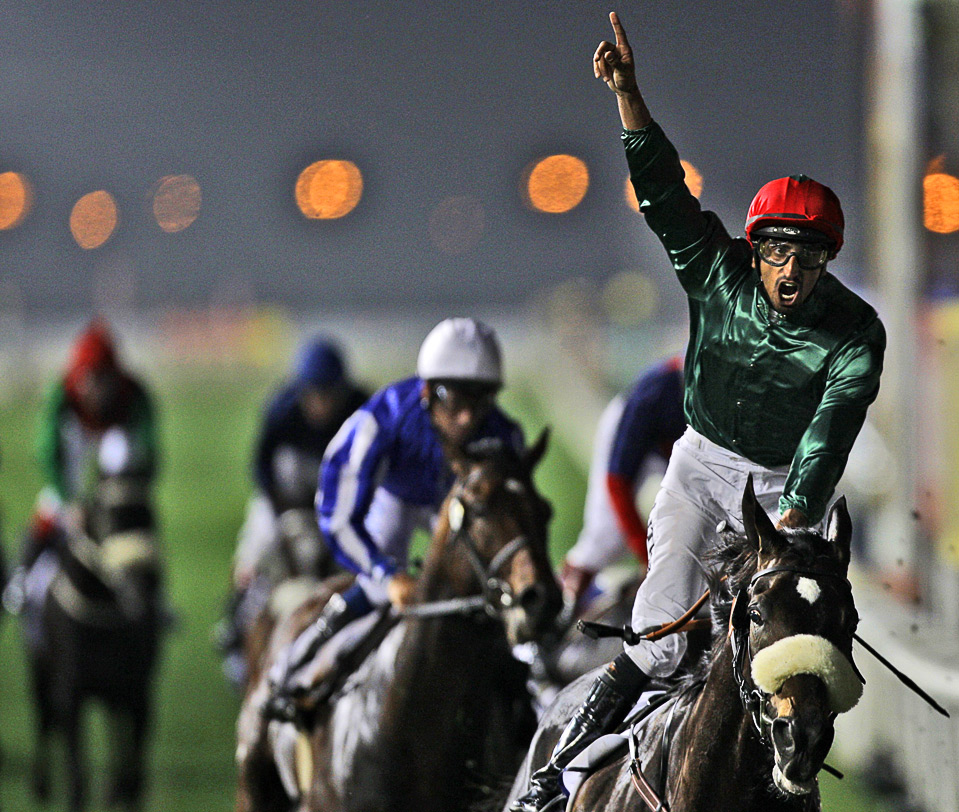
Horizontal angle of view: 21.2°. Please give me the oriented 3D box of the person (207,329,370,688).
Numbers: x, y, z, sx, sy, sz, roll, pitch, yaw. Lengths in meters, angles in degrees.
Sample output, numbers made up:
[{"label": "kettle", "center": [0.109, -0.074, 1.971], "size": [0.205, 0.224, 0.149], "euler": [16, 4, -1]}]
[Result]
[{"label": "person", "center": [-1.373, 0.745, 17.978], "size": [0.587, 2.612, 1.345], "euler": [20, -28, -24]}]

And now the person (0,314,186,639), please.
[{"label": "person", "center": [-2.831, 0.535, 18.910], "size": [0.672, 2.758, 1.408], "euler": [9, 8, -28]}]

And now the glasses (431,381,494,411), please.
[{"label": "glasses", "center": [-0.084, -0.079, 14.015], "size": [0.357, 0.178, 0.104], "euler": [-9, -16, -5]}]

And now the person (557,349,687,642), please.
[{"label": "person", "center": [0.910, 0.603, 16.679], "size": [0.453, 1.837, 0.951], "euler": [24, -11, -22]}]

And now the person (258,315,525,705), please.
[{"label": "person", "center": [-0.521, 0.672, 14.891], "size": [0.673, 2.672, 1.300], "euler": [6, 27, -47]}]

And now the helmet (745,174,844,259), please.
[{"label": "helmet", "center": [1.608, -0.962, 13.023], "size": [0.445, 0.499, 0.610], "euler": [6, -5, 3]}]
